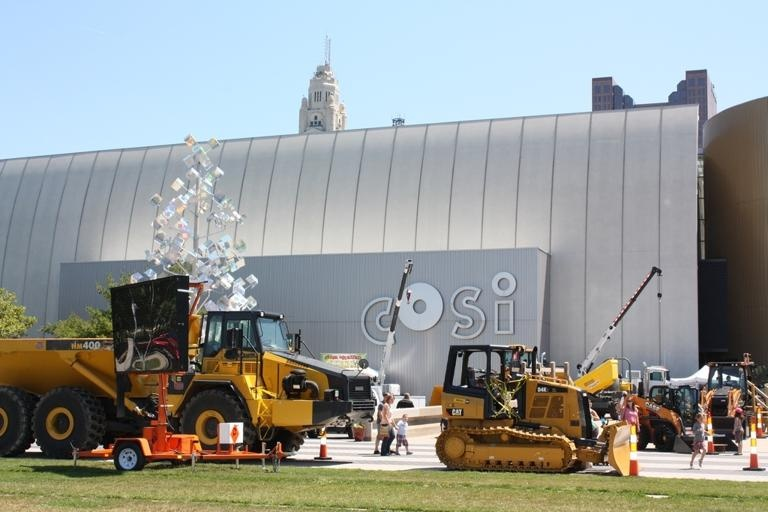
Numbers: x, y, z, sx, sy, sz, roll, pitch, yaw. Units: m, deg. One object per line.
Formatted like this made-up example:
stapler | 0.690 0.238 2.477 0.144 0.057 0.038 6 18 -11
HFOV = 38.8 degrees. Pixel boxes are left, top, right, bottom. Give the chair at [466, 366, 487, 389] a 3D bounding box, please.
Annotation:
chair | 3.392 4.501 40.492 0.752 0.934 0.650 -2 -5 39

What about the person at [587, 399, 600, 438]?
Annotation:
person | 8.016 6.201 42.046 0.482 1.383 0.974 -3 -4 16
